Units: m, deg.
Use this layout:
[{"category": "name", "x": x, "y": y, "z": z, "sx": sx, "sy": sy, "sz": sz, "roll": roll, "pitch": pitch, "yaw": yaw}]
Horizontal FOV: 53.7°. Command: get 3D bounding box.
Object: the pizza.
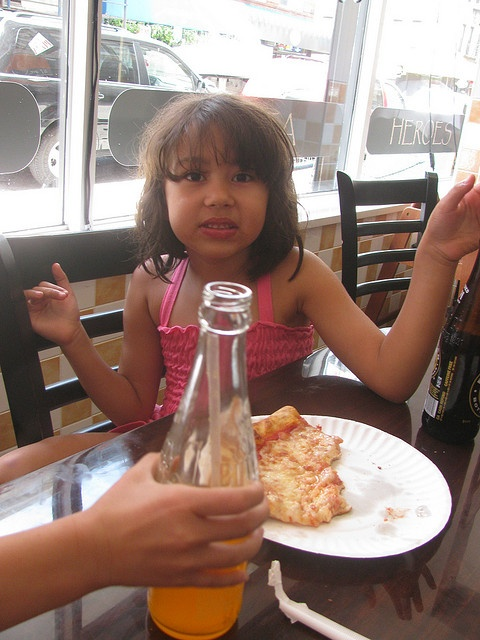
[{"category": "pizza", "x": 0.059, "y": 0.152, "z": 0.502, "sx": 0.109, "sy": 0.026, "sz": 0.184, "roll": -3, "pitch": 18, "yaw": -1}]
